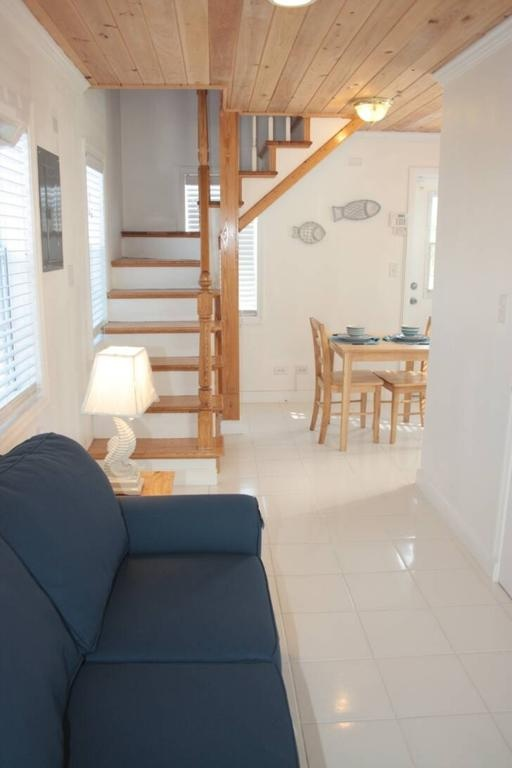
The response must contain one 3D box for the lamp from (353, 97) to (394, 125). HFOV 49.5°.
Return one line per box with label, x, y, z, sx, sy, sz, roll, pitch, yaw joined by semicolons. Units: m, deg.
lamp;0.841;-1.992;4.044;0.211;0.135;0.230;15;27;37
